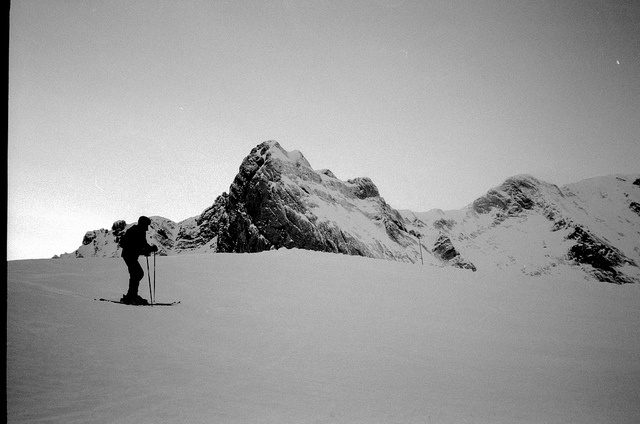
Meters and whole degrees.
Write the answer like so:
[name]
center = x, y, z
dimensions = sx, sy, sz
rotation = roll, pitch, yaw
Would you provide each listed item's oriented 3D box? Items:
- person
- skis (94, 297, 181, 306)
[person]
center = -3.173, 0.836, 8.833
dimensions = 0.611, 1.513, 0.290
rotation = 7, -11, -20
[skis]
center = -3.071, 1.537, 8.637
dimensions = 1.409, 0.134, 0.252
rotation = 3, -12, 5
